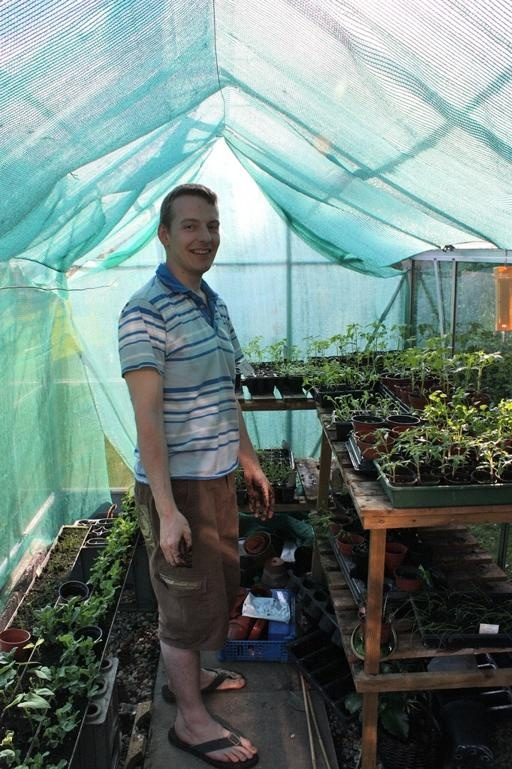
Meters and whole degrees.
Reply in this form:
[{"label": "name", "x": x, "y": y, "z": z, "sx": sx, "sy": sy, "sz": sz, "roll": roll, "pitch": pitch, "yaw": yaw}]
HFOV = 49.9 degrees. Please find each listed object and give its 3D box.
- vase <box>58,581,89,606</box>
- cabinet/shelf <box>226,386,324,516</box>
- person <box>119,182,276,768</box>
[{"label": "vase", "x": -0.946, "y": 1.055, "z": 2.841, "sx": 0.148, "sy": 0.064, "sz": 0.144, "roll": 3, "pitch": 10, "yaw": -1}, {"label": "cabinet/shelf", "x": 0.084, "y": 0.415, "z": 3.473, "sx": 0.718, "sy": 0.648, "sz": 0.539, "roll": -1, "pitch": 2, "yaw": 1}, {"label": "person", "x": -0.234, "y": 0.448, "z": 2.036, "sx": 0.454, "sy": 1.638, "sz": 0.687, "roll": -7, "pitch": 3, "yaw": -5}]
